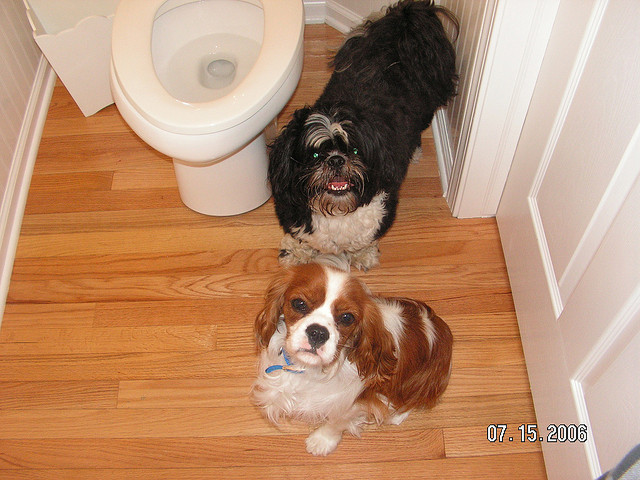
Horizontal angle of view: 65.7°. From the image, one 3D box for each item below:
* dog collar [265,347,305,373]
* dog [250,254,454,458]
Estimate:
[{"bbox_3d":[-0.121,0.428,1.772,0.097,0.034,0.133,-14,47,-7],"label":"dog collar"},{"bbox_3d":[0.140,0.338,1.961,0.815,0.676,0.614,-11,41,-19],"label":"dog"}]
